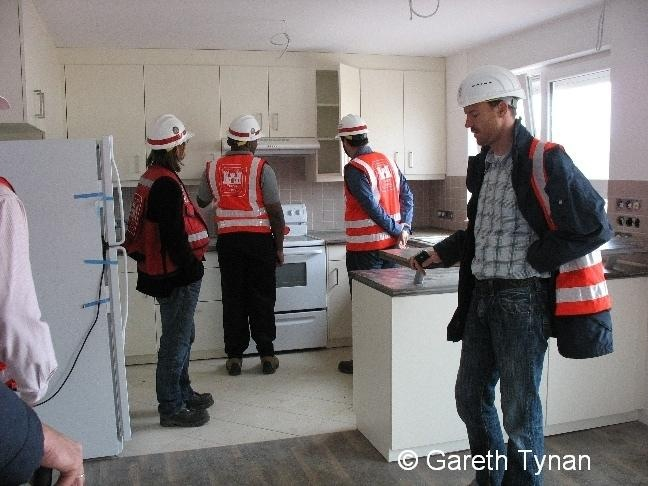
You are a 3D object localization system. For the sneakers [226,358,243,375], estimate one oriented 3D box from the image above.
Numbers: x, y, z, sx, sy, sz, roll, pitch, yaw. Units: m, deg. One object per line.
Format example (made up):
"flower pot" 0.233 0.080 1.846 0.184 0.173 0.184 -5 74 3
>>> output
"sneakers" -0.713 0.979 4.315 0.070 0.069 0.157 0 8 -6

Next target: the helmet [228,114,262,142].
"helmet" -0.590 -0.833 4.107 0.221 0.136 0.186 -19 45 -33

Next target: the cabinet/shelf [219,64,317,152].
"cabinet/shelf" -0.536 -1.223 4.899 0.879 0.816 0.342 -1 4 -12

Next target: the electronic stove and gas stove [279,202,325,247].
"electronic stove and gas stove" -0.217 -0.151 4.909 0.330 0.224 0.343 -3 4 -33

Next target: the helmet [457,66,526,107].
"helmet" 0.721 -0.661 2.344 0.228 0.139 0.179 -4 10 -6

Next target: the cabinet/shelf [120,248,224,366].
"cabinet/shelf" -1.100 0.434 3.865 0.917 0.944 0.489 -1 5 -9

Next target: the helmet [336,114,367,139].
"helmet" 0.194 -0.889 4.153 0.154 0.141 0.222 -9 22 -22

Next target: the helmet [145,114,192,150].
"helmet" -0.951 -0.666 3.400 0.202 0.139 0.231 26 41 36

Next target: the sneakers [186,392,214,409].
"sneakers" -0.848 1.065 3.739 0.166 0.080 0.086 -3 12 -10

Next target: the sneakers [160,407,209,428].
"sneakers" -0.887 1.106 3.546 0.293 0.141 0.122 -5 12 -6

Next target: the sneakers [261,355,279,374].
"sneakers" -0.430 0.969 4.324 0.066 0.081 0.188 0 7 4
